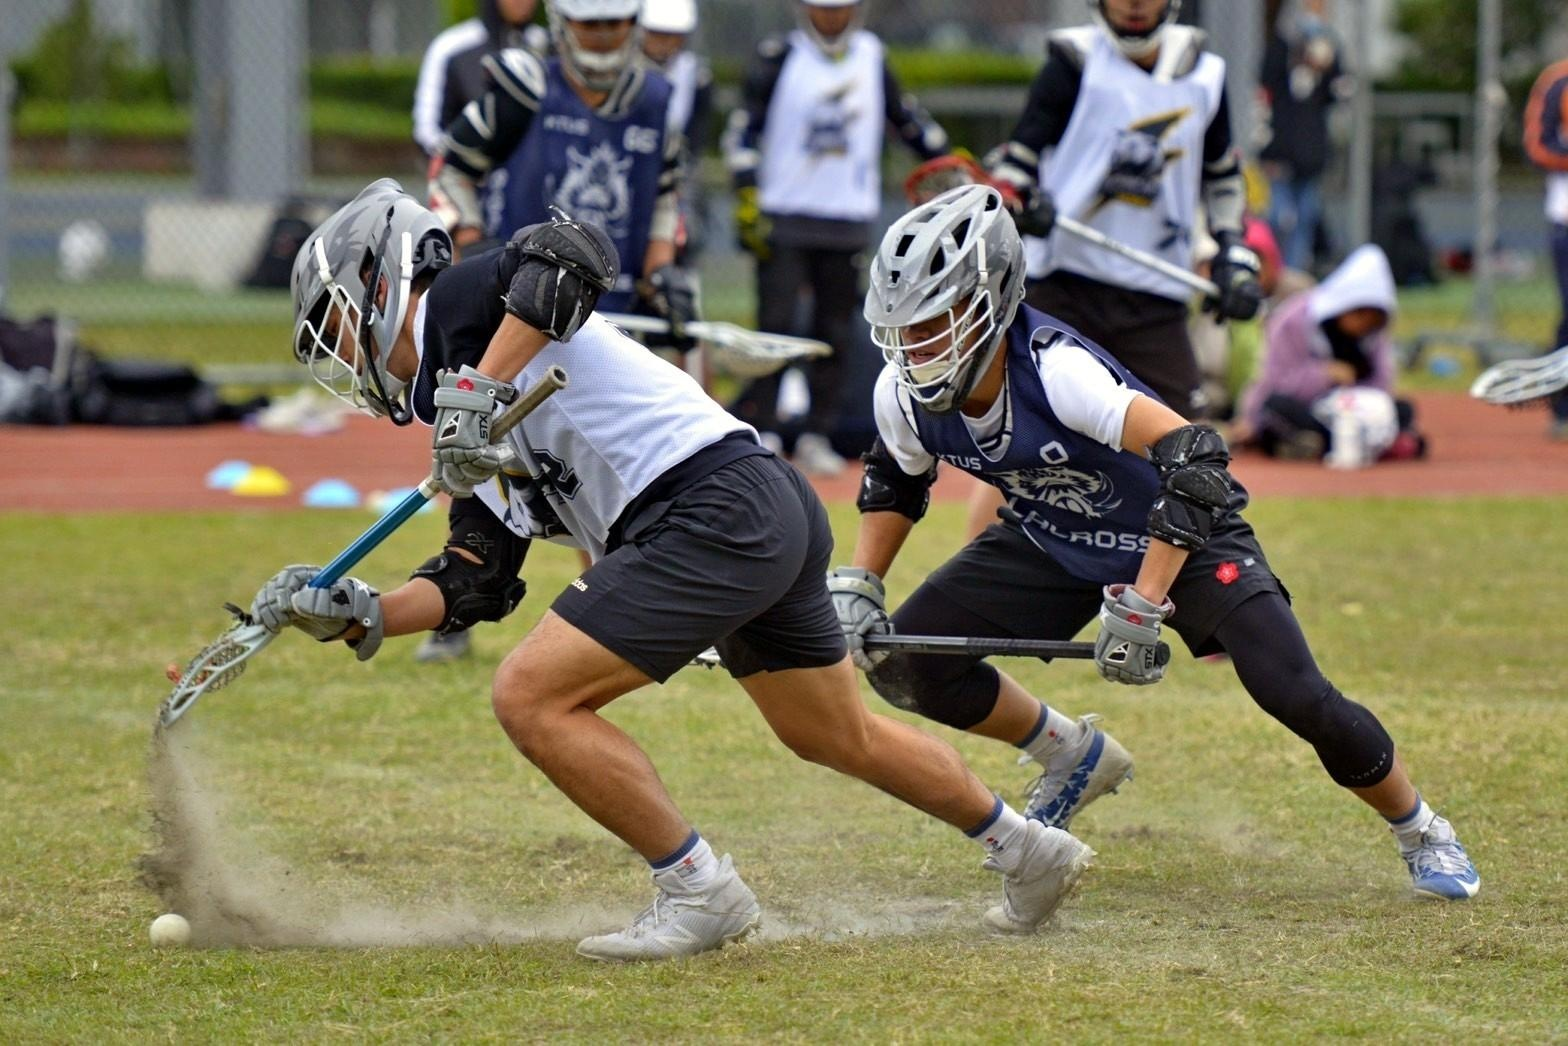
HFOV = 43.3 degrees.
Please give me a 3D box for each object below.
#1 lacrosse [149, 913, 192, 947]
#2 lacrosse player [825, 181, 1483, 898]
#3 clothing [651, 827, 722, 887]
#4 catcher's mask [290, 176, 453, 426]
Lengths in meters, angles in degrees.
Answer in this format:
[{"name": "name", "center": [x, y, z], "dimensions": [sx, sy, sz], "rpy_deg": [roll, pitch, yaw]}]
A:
[{"name": "lacrosse", "center": [-1.961, 1.299, 6.331], "dimensions": [0.108, 0.100, 0.106], "rpy_deg": [35, -3, -35]}, {"name": "lacrosse player", "center": [1.938, -0.049, 6.990], "dimensions": [1.981, 2.519, 4.371], "rpy_deg": [0, 0, 4]}, {"name": "clothing", "center": [-0.327, 1.082, 6.200], "dimensions": [0.194, 0.146, 0.204], "rpy_deg": [-36, -40, 23]}, {"name": "catcher's mask", "center": [-1.273, -0.640, 6.102], "dimensions": [0.576, 0.762, 0.353], "rpy_deg": [4, 1, 38]}]
